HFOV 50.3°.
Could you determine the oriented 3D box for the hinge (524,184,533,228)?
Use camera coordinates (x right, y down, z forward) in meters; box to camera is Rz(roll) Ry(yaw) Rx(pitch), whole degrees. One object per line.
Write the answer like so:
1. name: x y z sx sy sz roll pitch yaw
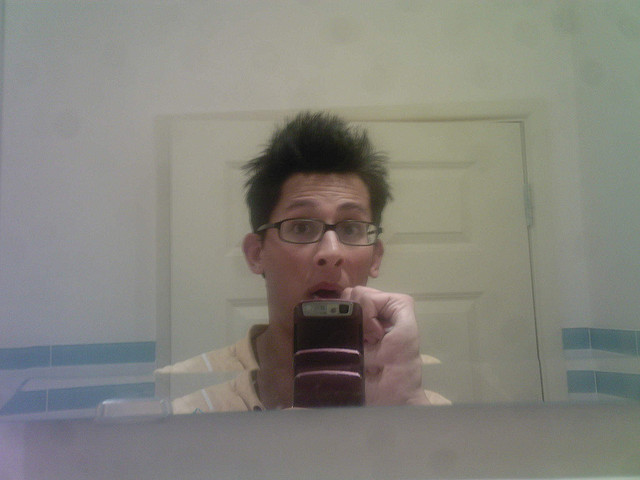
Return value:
1. hinge: 0.504 -0.083 1.647 0.018 0.106 0.004 2 -7 -17
